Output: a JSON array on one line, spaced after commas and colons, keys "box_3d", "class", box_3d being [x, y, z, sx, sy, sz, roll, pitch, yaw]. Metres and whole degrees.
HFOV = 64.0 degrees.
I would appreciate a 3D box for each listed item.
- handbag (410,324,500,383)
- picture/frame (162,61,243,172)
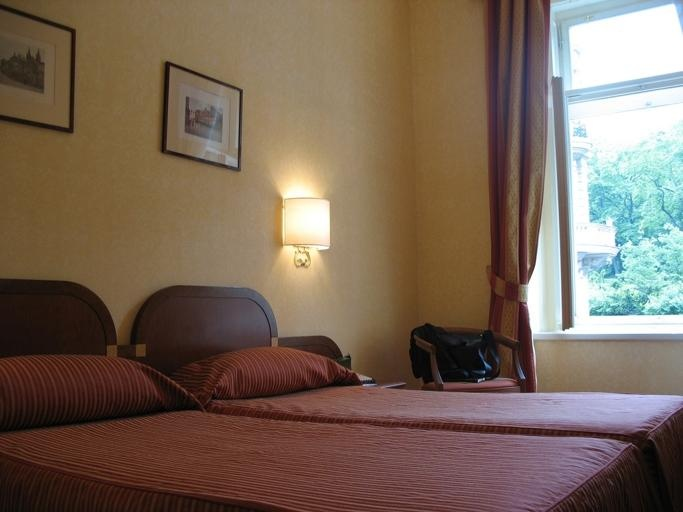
[{"box_3d": [0.796, 0.625, 3.824, 0.374, 0.272, 0.502, 0, 0, 5], "class": "handbag"}, {"box_3d": [-0.778, -0.759, 3.013, 0.026, 0.652, 0.578, -4, -8, 42], "class": "picture/frame"}]
